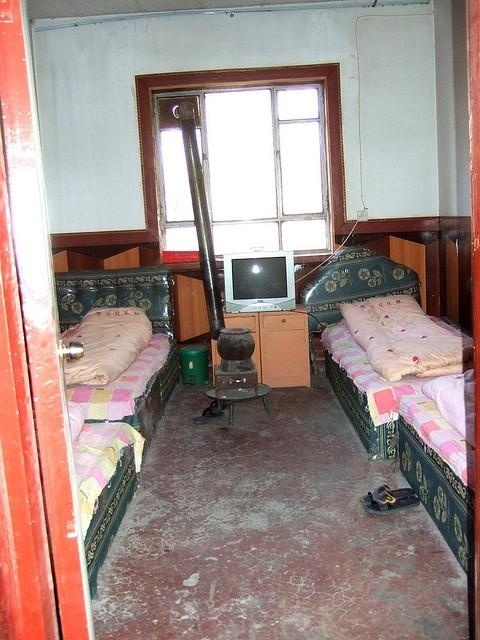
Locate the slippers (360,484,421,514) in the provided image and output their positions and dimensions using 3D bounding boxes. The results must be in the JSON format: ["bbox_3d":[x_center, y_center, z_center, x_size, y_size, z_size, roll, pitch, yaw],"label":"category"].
[{"bbox_3d":[0.690,0.811,2.361,0.167,0.047,0.118,-5,2,-7],"label":"slippers"}]

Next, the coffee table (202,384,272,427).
[{"bbox_3d":[-0.008,0.556,3.897,0.457,0.297,0.648,-4,7,-1],"label":"coffee table"}]

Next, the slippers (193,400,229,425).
[{"bbox_3d":[-0.213,0.681,3.866,0.200,0.076,0.147,-25,-27,32],"label":"slippers"}]

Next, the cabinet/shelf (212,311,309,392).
[{"bbox_3d":[0.183,0.246,4.161,0.701,0.607,0.262,-1,2,0],"label":"cabinet/shelf"}]

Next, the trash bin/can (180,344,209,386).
[{"bbox_3d":[-0.377,0.400,4.880,0.329,0.334,0.331,-2,9,-3],"label":"trash bin/can"}]

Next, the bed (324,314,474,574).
[{"bbox_3d":[0.634,0.631,2.427,0.547,0.301,1.264,1,26,-1],"label":"bed"}]

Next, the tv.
[{"bbox_3d":[0.156,-0.278,4.777,0.827,0.701,0.485,-1,-1,3],"label":"tv"}]
